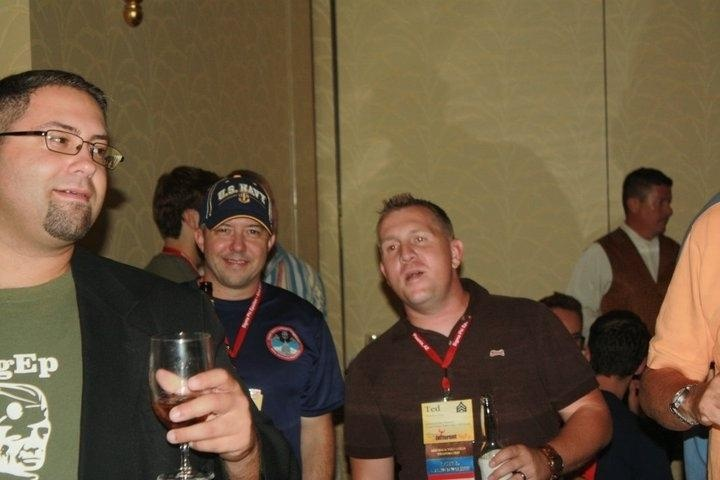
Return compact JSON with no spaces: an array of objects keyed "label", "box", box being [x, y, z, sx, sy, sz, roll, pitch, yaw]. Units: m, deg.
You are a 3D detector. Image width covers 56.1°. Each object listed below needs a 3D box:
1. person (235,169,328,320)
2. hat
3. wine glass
[{"label":"person","box":[-0.539,0.057,4.488,0.489,1.117,0.560,-3,-4,23]},{"label":"hat","box":[-0.621,-0.190,3.387,0.375,0.258,0.446,1,10,-32]},{"label":"wine glass","box":[-0.556,0.523,2.106,0.189,0.465,0.189,-5,0,-22]}]
